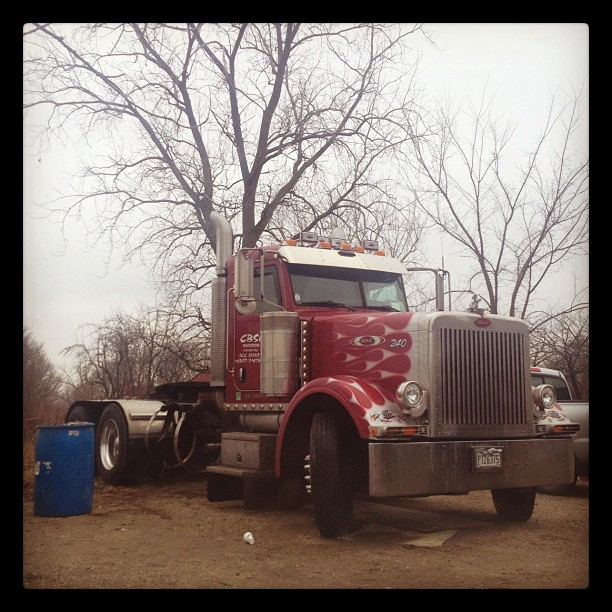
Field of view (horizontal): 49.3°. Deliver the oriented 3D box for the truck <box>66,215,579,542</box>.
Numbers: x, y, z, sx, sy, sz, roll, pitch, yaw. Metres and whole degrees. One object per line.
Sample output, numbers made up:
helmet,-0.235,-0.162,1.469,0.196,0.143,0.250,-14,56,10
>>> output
truck,-0.068,0.994,9.588,3.576,3.920,7.466,6,-13,-31
